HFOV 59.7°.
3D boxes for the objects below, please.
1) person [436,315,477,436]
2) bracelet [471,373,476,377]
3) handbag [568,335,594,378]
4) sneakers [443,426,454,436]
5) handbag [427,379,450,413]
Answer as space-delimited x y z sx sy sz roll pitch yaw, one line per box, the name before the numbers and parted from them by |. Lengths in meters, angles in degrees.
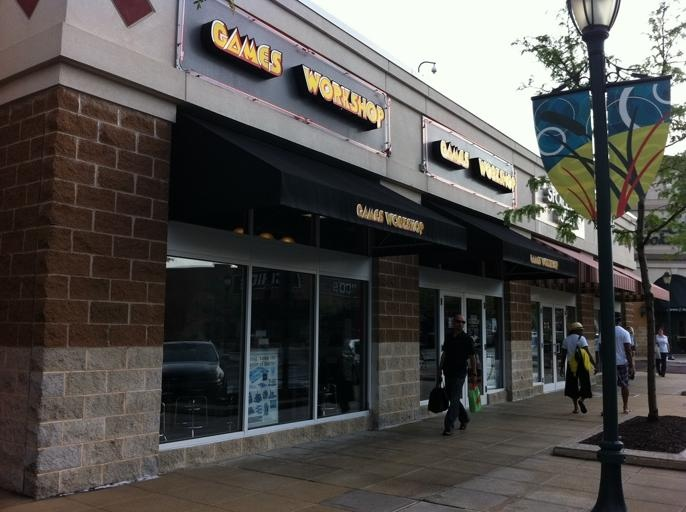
person | 2.225 2.347 11.955 0.864 2.273 0.563 3 -5 -25
bracelet | 2.627 2.390 12.036 0.071 0.068 0.019 7 -5 -7
handbag | 5.769 2.399 14.571 0.411 1.092 0.540 22 -30 -33
sneakers | 2.026 3.402 11.551 0.084 0.103 0.239 -10 -24 28
handbag | 1.913 2.847 11.828 0.367 0.494 0.807 0 -5 10
